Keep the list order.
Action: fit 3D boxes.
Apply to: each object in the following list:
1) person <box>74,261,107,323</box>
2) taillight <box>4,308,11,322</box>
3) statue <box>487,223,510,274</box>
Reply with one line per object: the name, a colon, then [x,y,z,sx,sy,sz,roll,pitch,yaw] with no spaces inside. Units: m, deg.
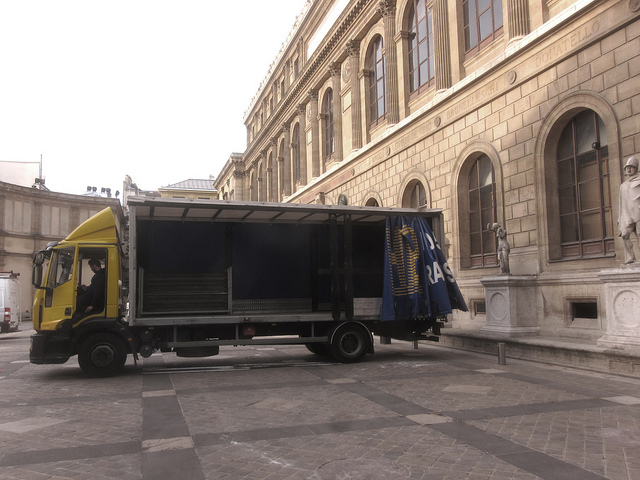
person: [-5.602,1.184,13.031,0.729,1.553,0.668,-1,20,-1]
taillight: [-15.604,3.766,26.090,0.129,0.708,0.332,-1,-3,12]
statue: [5.904,0.284,17.116,0.522,1.658,0.781,-2,-3,19]
